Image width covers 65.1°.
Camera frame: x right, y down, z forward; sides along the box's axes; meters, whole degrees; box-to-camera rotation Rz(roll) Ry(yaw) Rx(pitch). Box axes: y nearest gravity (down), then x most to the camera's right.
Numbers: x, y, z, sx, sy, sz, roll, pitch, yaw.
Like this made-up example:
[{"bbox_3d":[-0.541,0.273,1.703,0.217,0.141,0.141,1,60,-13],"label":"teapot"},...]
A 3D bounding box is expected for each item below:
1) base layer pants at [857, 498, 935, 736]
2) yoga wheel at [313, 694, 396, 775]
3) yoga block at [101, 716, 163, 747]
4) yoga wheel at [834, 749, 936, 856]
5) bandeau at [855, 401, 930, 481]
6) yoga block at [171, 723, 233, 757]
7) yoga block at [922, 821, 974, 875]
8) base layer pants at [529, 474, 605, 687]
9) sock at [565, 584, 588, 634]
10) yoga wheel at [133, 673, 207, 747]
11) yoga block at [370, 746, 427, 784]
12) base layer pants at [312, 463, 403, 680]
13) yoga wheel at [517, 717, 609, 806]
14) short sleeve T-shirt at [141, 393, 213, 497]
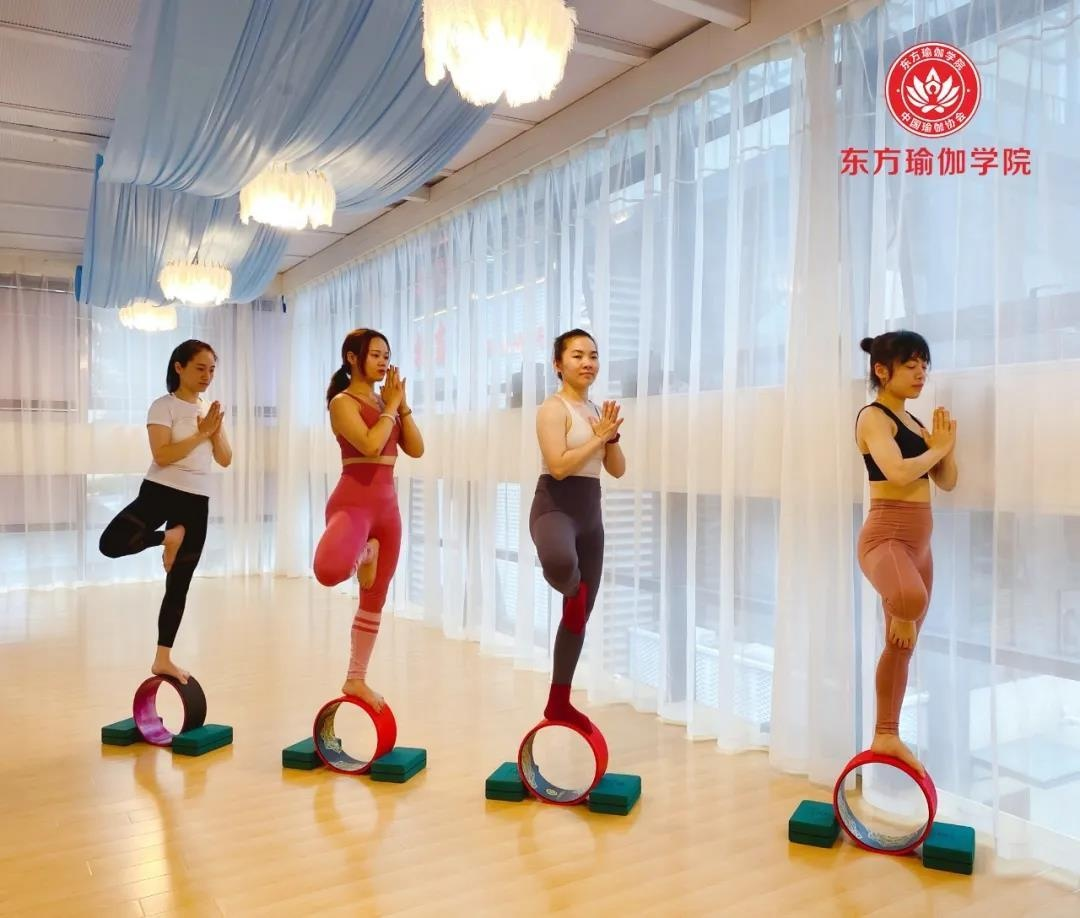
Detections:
[{"bbox_3d":[1.242,0.549,2.957,0.241,0.530,0.275,1,0,27],"label":"base layer pants"},{"bbox_3d":[-0.812,1.160,3.609,0.259,0.318,0.156,2,1,6],"label":"yoga wheel"},{"bbox_3d":[-1.930,1.252,3.897,0.184,0.126,0.173,0,1,-30],"label":"yoga block"},{"bbox_3d":[1.275,1.245,3.090,0.347,0.380,0.143,5,5,37],"label":"yoga wheel"},{"bbox_3d":[1.281,-0.063,3.142,0.211,0.433,0.259,-5,-6,13],"label":"bandeau"},{"bbox_3d":[-1.519,1.258,3.816,0.161,0.130,0.255,1,1,35],"label":"yoga block"},{"bbox_3d":[1.361,1.286,2.799,0.101,0.057,0.147,3,5,27],"label":"yoga block"},{"bbox_3d":[0.098,0.466,3.173,0.269,0.669,0.294,1,0,2],"label":"base layer pants"},{"bbox_3d":[0.144,0.573,3.208,0.060,0.226,0.078,2,-13,18],"label":"sock"},{"bbox_3d":[-1.722,1.139,3.878,0.247,0.303,0.144,4,2,13],"label":"yoga wheel"},{"bbox_3d":[-0.603,1.268,3.544,0.203,0.122,0.222,1,1,14],"label":"yoga block"},{"bbox_3d":[-0.755,0.473,3.461,0.257,0.857,0.563,1,0,16],"label":"base layer pants"},{"bbox_3d":[0.106,1.137,3.395,0.277,0.382,0.343,4,1,17],"label":"yoga wheel"},{"bbox_3d":[-1.655,-0.078,3.956,0.216,0.453,0.406,0,-7,31],"label":"short sleeve T-shirt"}]
